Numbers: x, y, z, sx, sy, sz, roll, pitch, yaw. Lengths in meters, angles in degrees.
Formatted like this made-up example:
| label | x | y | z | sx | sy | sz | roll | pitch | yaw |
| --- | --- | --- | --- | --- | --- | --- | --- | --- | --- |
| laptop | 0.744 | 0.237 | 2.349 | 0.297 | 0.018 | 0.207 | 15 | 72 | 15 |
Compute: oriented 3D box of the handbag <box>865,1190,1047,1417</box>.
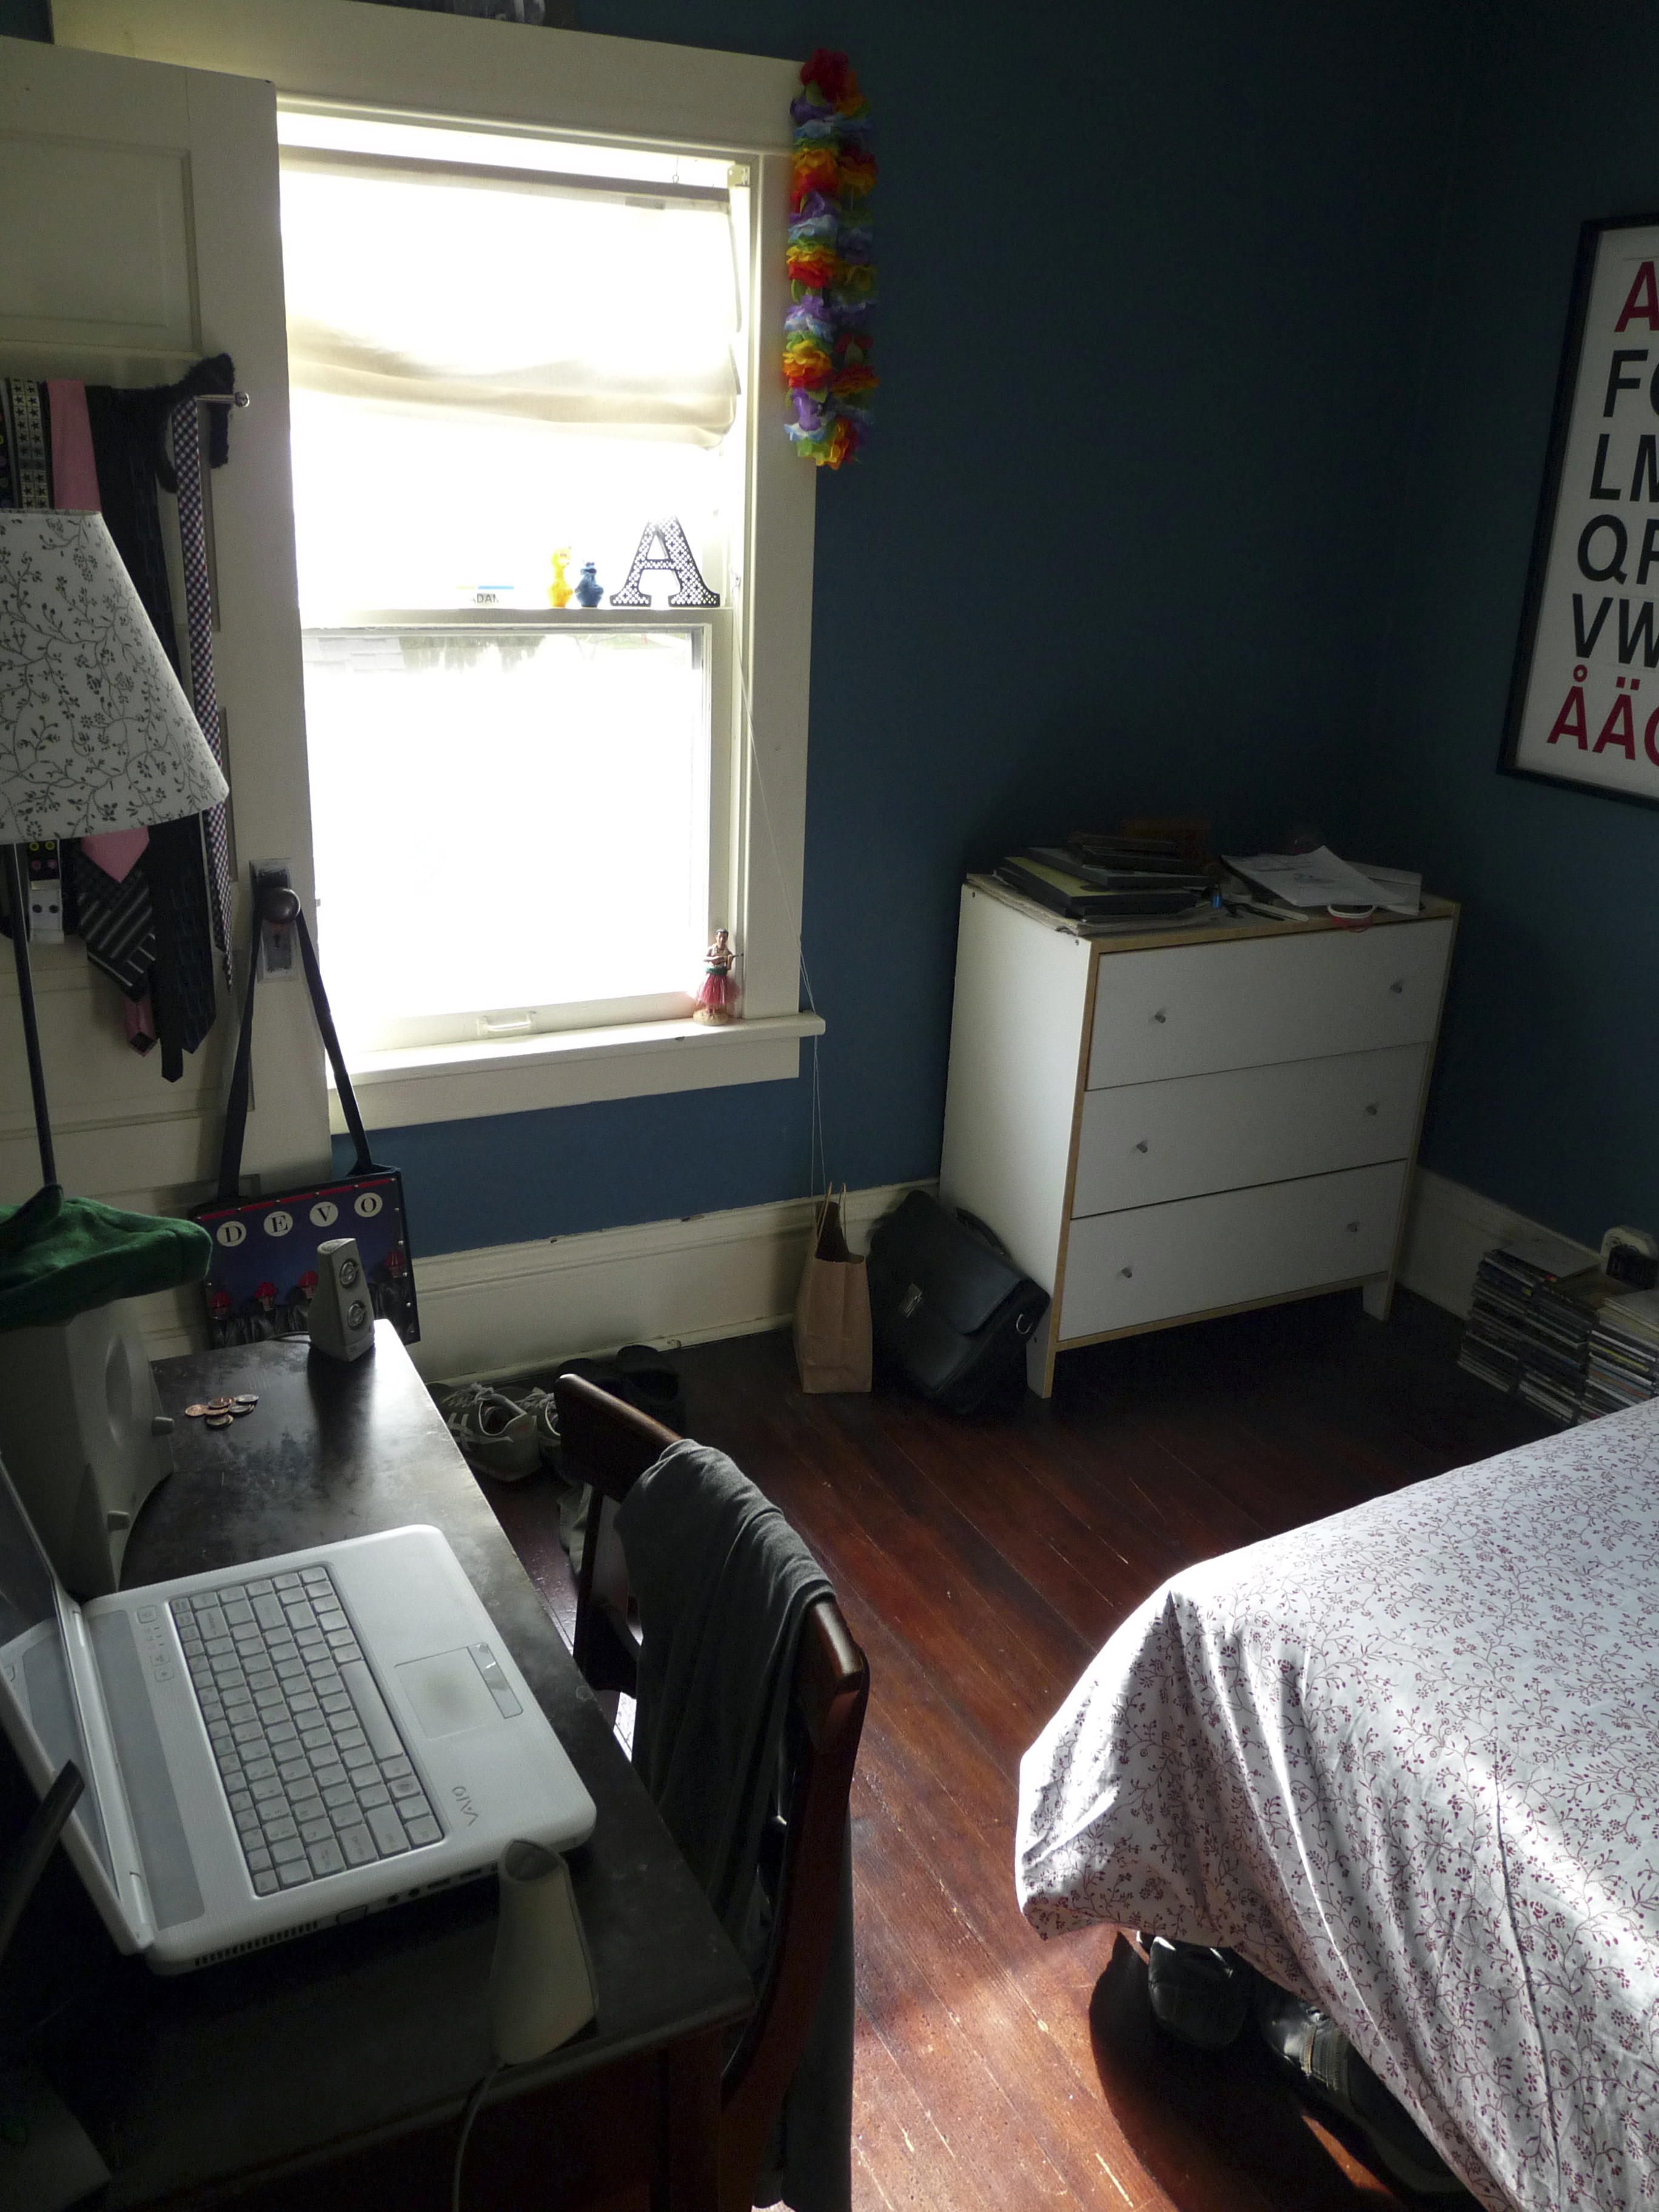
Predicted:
| label | x | y | z | sx | sy | sz | roll | pitch | yaw |
| --- | --- | --- | --- | --- | --- | --- | --- | --- | --- |
| handbag | 0.219 | 0.389 | 3.149 | 0.264 | 0.295 | 0.431 | -10 | 24 | -24 |

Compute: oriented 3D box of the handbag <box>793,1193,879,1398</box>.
| label | x | y | z | sx | sy | sz | roll | pitch | yaw |
| --- | --- | --- | --- | --- | --- | --- | --- | --- | --- |
| handbag | 0.003 | 0.387 | 3.116 | 0.082 | 0.311 | 0.271 | -1 | 13 | -9 |

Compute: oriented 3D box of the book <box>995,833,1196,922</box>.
| label | x | y | z | sx | sy | sz | roll | pitch | yaw |
| --- | --- | --- | --- | --- | --- | --- | --- | --- | --- |
| book | 0.495 | -0.418 | 2.953 | 0.397 | 0.135 | 0.233 | 5 | 23 | 12 |

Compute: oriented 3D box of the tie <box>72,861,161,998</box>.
| label | x | y | z | sx | sy | sz | roll | pitch | yaw |
| --- | --- | --- | --- | --- | --- | --- | --- | --- | --- |
| tie | -0.992 | -0.250 | 2.211 | 0.094 | 0.176 | 0.038 | 6 | 17 | 6 |

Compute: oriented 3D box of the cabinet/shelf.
| label | x | y | z | sx | sy | sz | roll | pitch | yaw |
| --- | --- | --- | --- | --- | --- | --- | --- | --- | --- |
| cabinet/shelf | 0.788 | -0.074 | 3.319 | 0.799 | 0.978 | 0.526 | -6 | 30 | -12 |

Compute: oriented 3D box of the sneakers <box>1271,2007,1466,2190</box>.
| label | x | y | z | sx | sy | sz | roll | pitch | yaw |
| --- | --- | --- | --- | --- | --- | --- | --- | --- | --- |
| sneakers | 0.553 | 1.020 | 1.662 | 0.044 | 0.095 | 0.163 | -3 | 54 | -47 |
